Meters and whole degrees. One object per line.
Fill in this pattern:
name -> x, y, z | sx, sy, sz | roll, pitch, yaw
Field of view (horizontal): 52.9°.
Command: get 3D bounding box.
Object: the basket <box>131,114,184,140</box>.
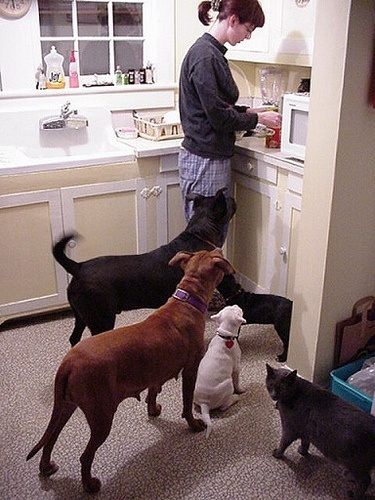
basket -> -0.222, -0.803, 2.569 | 0.244, 0.111, 0.322 | -9, 21, -28

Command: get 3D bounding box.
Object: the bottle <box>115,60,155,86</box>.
bottle -> -0.384, -1.283, 2.768 | 0.295, 0.174, 0.165 | -2, 14, -9

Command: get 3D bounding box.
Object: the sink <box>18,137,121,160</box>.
sink -> -0.708, -0.648, 2.301 | 0.615, 0.186, 0.593 | -6, 15, -24

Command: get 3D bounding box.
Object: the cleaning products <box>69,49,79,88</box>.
cleaning products -> -0.786, -1.232, 2.586 | 0.066, 0.252, 0.106 | -4, 14, -16

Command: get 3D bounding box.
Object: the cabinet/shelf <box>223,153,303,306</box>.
cabinet/shelf -> 0.418, -0.127, 2.032 | 0.312, 0.720, 0.744 | -3, 15, -21

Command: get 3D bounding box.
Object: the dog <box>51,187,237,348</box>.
dog -> -0.099, 0.112, 1.609 | 0.808, 0.640, 0.306 | -13, 13, -15

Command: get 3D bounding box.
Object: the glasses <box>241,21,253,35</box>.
glasses -> 0.295, -1.081, 1.834 | 0.034, 0.037, 0.012 | 6, 1, 42

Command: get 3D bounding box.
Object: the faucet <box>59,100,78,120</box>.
faucet -> -0.783, -0.897, 2.445 | 0.095, 0.051, 0.130 | 40, 52, 4

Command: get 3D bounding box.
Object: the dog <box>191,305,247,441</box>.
dog -> 0.125, 0.459, 1.533 | 0.163, 0.351, 0.455 | 2, 10, 26

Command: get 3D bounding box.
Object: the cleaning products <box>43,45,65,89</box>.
cleaning products -> -0.898, -1.224, 2.541 | 0.125, 0.276, 0.128 | 8, 16, 27

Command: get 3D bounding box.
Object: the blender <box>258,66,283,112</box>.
blender -> 0.572, -1.089, 2.569 | 0.164, 0.240, 0.161 | 8, 22, 11
